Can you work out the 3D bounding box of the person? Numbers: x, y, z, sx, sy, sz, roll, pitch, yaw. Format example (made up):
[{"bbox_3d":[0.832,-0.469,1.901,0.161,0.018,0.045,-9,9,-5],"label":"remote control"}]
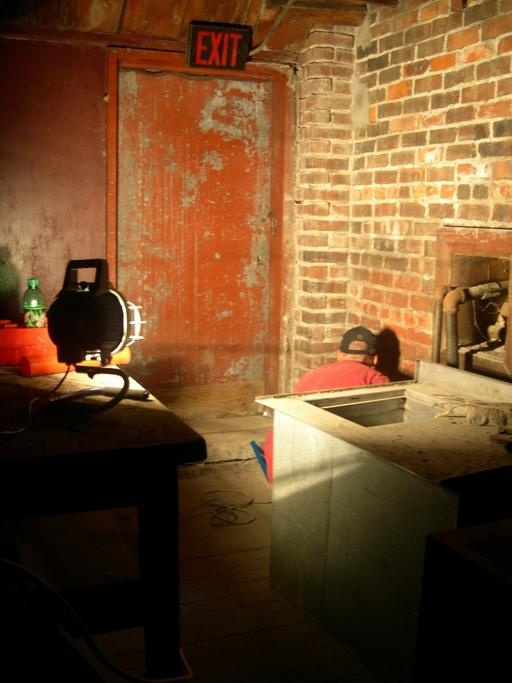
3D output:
[{"bbox_3d":[0.365,0.351,2.897,0.576,0.816,0.536,2,8,-10],"label":"person"}]

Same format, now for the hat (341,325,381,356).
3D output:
[{"bbox_3d":[0.543,0.002,3.075,0.137,0.100,0.183,3,9,7],"label":"hat"}]

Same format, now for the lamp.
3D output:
[{"bbox_3d":[-0.495,-0.021,1.804,0.257,0.433,0.276,3,5,31],"label":"lamp"}]
